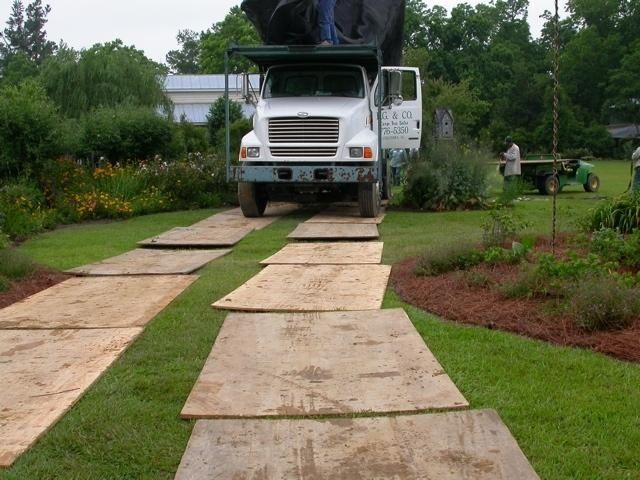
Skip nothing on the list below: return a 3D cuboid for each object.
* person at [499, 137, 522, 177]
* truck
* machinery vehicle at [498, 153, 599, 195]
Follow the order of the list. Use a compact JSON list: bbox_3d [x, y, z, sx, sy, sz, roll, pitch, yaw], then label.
[{"bbox_3d":[5.410,-2.332,15.740,0.519,1.142,1.421,2,11,19],"label":"person"},{"bbox_3d":[0.271,-2.435,13.410,3.431,2.924,5.018,0,2,6],"label":"truck"},{"bbox_3d":[7.607,-2.038,17.744,3.253,1.194,1.514,-12,15,-43],"label":"machinery vehicle"}]
